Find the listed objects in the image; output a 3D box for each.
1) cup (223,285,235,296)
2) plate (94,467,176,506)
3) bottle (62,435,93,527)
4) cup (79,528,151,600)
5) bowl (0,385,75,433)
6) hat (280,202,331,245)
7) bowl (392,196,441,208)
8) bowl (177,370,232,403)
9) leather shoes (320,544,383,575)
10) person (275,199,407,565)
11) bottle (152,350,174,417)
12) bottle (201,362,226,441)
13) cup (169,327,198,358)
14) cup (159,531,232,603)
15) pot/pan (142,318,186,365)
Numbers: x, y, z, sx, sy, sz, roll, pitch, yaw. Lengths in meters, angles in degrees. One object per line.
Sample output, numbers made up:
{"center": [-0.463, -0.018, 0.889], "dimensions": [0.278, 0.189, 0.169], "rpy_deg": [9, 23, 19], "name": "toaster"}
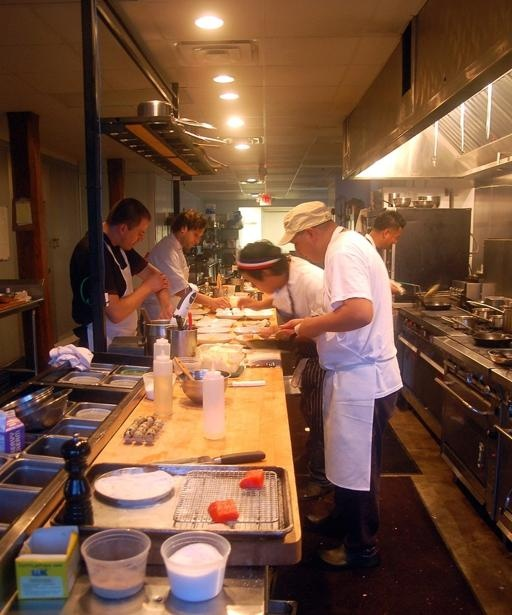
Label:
{"center": [-0.262, -0.173, 5.190], "dimensions": [0.099, 0.120, 0.133], "rpy_deg": [1, 4, 29], "name": "cup"}
{"center": [-0.274, 0.402, 1.137], "dimensions": [0.180, 0.024, 0.158], "rpy_deg": [0, 7, -8], "name": "plate"}
{"center": [-0.344, 0.330, 0.968], "dimensions": [0.054, 0.166, 0.080], "rpy_deg": [-2, 9, -21], "name": "bottle"}
{"center": [-0.240, 0.423, 0.861], "dimensions": [0.101, 0.058, 0.098], "rpy_deg": [2, 0, 0], "name": "cup"}
{"center": [-0.682, 0.323, 1.606], "dimensions": [0.109, 0.115, 0.235], "rpy_deg": [3, 8, 17], "name": "bowl"}
{"center": [0.216, -0.394, 2.320], "dimensions": [0.248, 0.122, 0.167], "rpy_deg": [-25, 16, 14], "name": "hat"}
{"center": [1.575, -1.034, 5.012], "dimensions": [0.393, 0.096, 0.211], "rpy_deg": [0, 6, 10], "name": "bowl"}
{"center": [-0.208, 0.279, 1.800], "dimensions": [0.130, 0.066, 0.130], "rpy_deg": [0, 1, 0], "name": "bowl"}
{"center": [0.413, 1.116, 2.245], "dimensions": [0.294, 0.113, 0.099], "rpy_deg": [3, 6, 3], "name": "leather shoes"}
{"center": [0.373, 0.352, 2.223], "dimensions": [0.526, 1.635, 0.591], "rpy_deg": [0, 8, -2], "name": "person"}
{"center": [-0.294, 0.258, 1.599], "dimensions": [0.056, 0.208, 0.102], "rpy_deg": [-1, 8, -11], "name": "bottle"}
{"center": [-0.123, 0.275, 1.487], "dimensions": [0.068, 0.194, 0.132], "rpy_deg": [0, 8, -6], "name": "bottle"}
{"center": [-0.322, 0.164, 2.378], "dimensions": [0.148, 0.140, 0.140], "rpy_deg": [0, 2, 0], "name": "cup"}
{"center": [-0.103, 0.441, 0.863], "dimensions": [0.118, 0.086, 0.113], "rpy_deg": [1, 7, 0], "name": "cup"}
{"center": [-0.446, 0.143, 2.412], "dimensions": [0.170, 0.140, 0.206], "rpy_deg": [-1, 2, -28], "name": "pot/pan"}
